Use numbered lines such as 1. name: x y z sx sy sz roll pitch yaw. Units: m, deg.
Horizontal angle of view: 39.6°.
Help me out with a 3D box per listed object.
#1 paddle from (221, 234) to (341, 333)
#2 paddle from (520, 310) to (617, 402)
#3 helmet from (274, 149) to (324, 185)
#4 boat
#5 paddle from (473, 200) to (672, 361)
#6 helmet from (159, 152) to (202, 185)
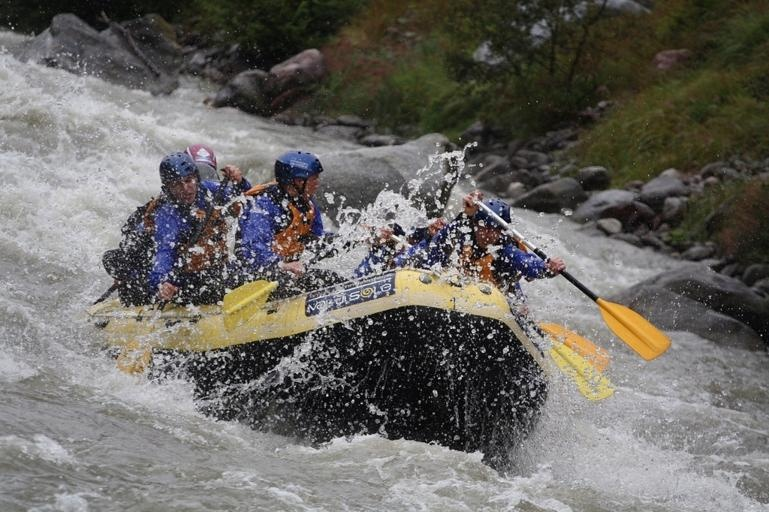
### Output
1. paddle: -1.367 0.354 13.940 2.015 0.230 0.681 -33 92 -15
2. paddle: 2.455 1.277 13.729 0.638 0.416 1.767 -35 47 -23
3. helmet: -1.107 -1.122 14.056 0.501 0.405 0.381 14 -1 6
4. boat: -0.635 1.353 13.769 4.270 1.372 2.596 3 -9 17
5. paddle: 2.750 0.423 15.193 3.318 0.466 0.215 44 9 13
6. helmet: -2.660 -1.147 13.952 0.359 0.459 0.436 -24 85 -29
